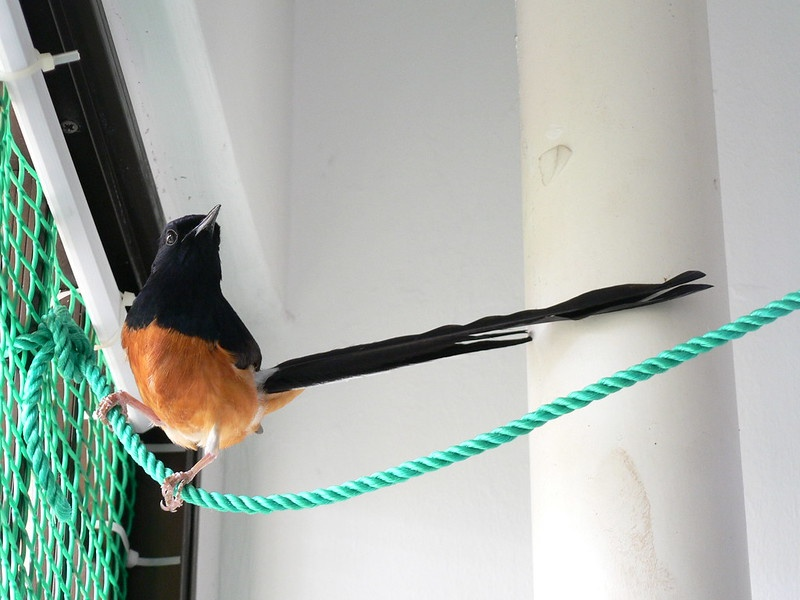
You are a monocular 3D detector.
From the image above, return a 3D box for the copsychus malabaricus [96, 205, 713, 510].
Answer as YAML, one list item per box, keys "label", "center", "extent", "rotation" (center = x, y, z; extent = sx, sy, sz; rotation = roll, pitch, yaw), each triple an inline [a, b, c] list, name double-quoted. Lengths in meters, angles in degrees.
- label: "copsychus malabaricus"
  center: [-0.049, 0.147, 3.223]
  extent: [1.780, 0.958, 0.612]
  rotation: [4, -2, 0]
